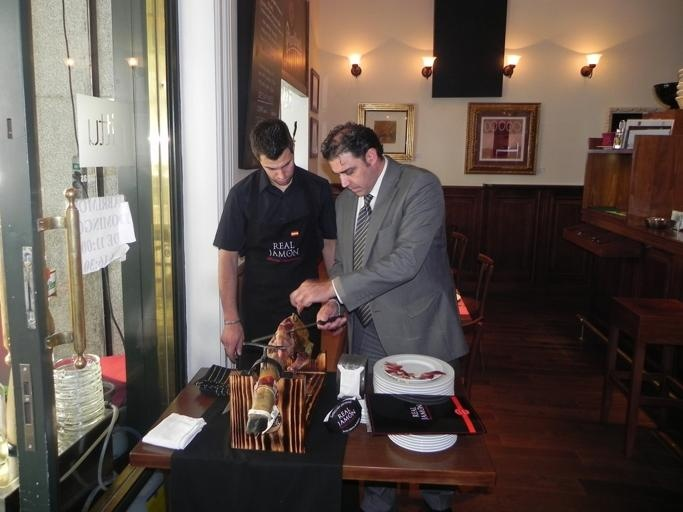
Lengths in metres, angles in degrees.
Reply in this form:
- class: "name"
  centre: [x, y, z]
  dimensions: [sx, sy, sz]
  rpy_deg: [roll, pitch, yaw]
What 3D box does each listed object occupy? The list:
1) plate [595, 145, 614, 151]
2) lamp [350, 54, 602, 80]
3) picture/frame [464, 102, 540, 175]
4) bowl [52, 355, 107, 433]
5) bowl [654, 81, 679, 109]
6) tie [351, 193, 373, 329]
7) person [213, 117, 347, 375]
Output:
- class: "plate"
  centre: [2.378, -0.988, 4.857]
  dimensions: [0.162, 0.047, 0.169]
  rpy_deg: [0, 7, 12]
- class: "lamp"
  centre: [1.790, -2.115, 6.102]
  dimensions: [1.945, 0.321, 0.233]
  rpy_deg: [2, 19, 1]
- class: "picture/frame"
  centre: [1.973, -1.476, 6.515]
  dimensions: [0.738, 0.844, 0.055]
  rpy_deg: [2, 7, 5]
- class: "bowl"
  centre: [-0.914, 0.511, 2.024]
  dimensions: [0.205, 0.263, 0.220]
  rpy_deg: [-1, 4, 0]
- class: "bowl"
  centre: [2.568, -1.287, 4.275]
  dimensions: [0.191, 0.158, 0.200]
  rpy_deg: [-3, 14, 1]
- class: "tie"
  centre: [0.103, 0.022, 2.509]
  dimensions: [0.077, 0.630, 0.062]
  rpy_deg: [-2, -7, 17]
- class: "person"
  centre: [-0.337, 0.215, 2.882]
  dimensions: [0.606, 1.826, 0.473]
  rpy_deg: [-7, 29, -20]
